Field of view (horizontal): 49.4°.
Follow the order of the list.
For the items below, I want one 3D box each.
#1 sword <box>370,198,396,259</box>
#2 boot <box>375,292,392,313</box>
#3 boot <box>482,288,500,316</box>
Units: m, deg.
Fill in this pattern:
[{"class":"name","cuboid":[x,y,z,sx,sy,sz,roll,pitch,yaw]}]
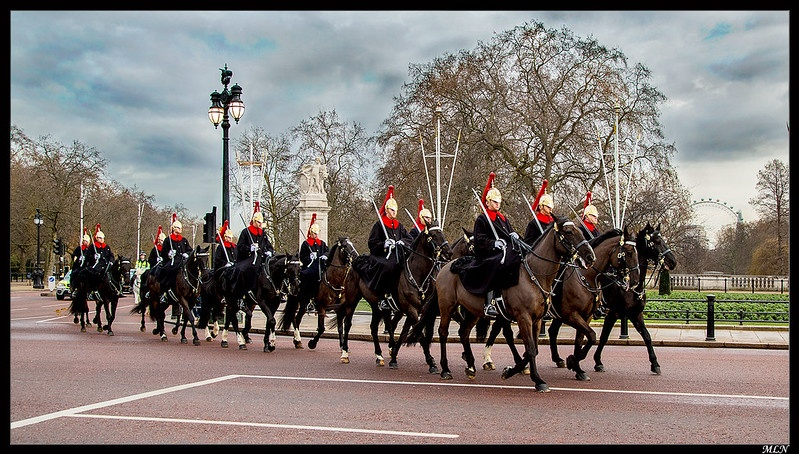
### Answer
[{"class":"sword","cuboid":[-0.475,0.116,26.710,0.600,1.532,0.145,-11,-15,2]},{"class":"boot","cuboid":[-0.497,2.313,26.585,0.437,0.503,0.618,-3,-8,44]},{"class":"boot","cuboid":[2.479,2.099,23.769,0.420,0.701,0.215,-4,-8,27]}]
